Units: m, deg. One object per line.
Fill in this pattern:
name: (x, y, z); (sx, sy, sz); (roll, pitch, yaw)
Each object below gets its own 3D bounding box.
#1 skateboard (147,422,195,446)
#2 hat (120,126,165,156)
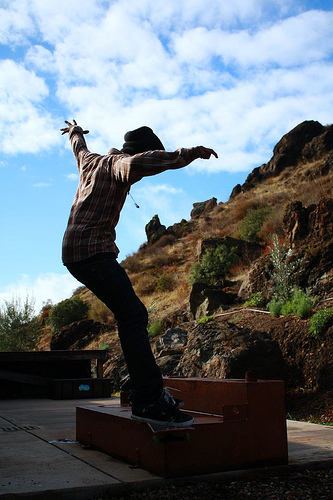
skateboard: (0.025, 0.848, 2.451); (0.214, 0.086, 0.180); (-8, -7, -6)
hat: (-0.157, -0.623, 3.075); (0.241, 0.217, 0.160); (-10, -25, -12)
